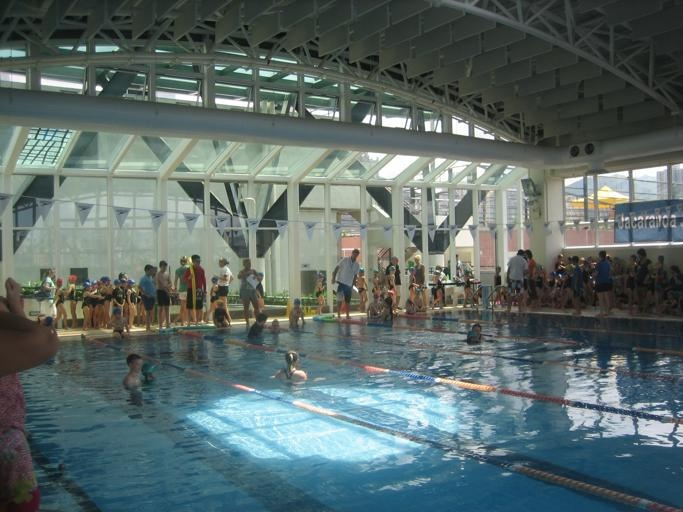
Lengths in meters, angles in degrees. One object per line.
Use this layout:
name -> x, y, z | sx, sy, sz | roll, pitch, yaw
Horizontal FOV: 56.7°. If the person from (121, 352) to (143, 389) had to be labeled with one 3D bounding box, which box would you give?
person -> -2.792, 1.529, 8.471 | 0.243, 0.381, 0.936 | 1, -3, -18
